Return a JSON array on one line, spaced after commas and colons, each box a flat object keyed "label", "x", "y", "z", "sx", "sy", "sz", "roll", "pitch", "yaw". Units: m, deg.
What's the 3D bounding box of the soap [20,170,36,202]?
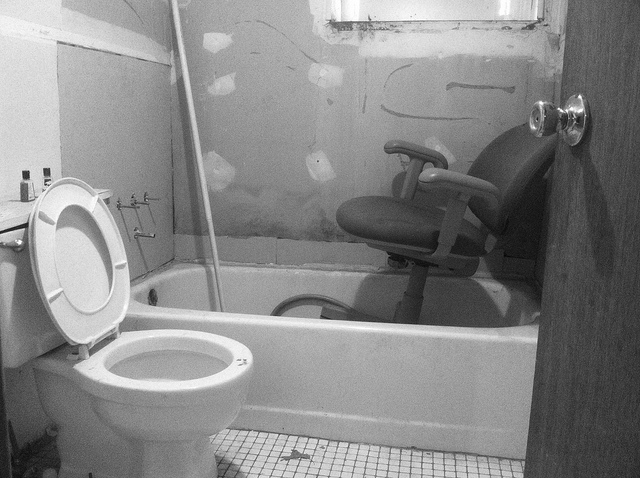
[{"label": "soap", "x": -0.888, "y": -0.162, "z": 1.448, "sx": 0.040, "sy": 0.094, "sz": 0.104, "roll": -1, "pitch": 7, "yaw": -32}]

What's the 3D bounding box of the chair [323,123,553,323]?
[{"label": "chair", "x": 0.436, "y": -0.060, "z": 1.841, "sx": 0.717, "sy": 0.805, "sz": 0.567, "roll": 3, "pitch": 6, "yaw": 4}]
